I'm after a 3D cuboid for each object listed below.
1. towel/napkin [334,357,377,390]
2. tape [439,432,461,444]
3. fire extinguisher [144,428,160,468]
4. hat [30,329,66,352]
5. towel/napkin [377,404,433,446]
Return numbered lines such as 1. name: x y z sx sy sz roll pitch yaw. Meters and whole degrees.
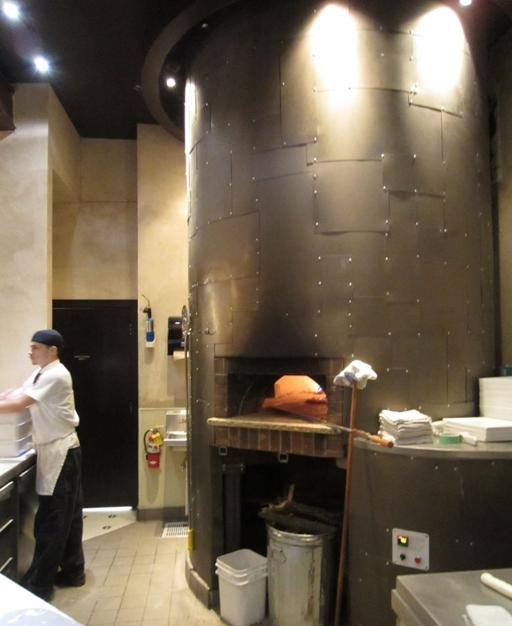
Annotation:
1. towel/napkin: 0.465 0.293 2.638 0.178 0.130 0.101 1 -4 -22
2. tape: 0.910 0.587 2.604 0.128 0.044 0.049 1 -4 -15
3. fire extinguisher: -0.844 1.151 4.677 0.149 0.341 0.261 1 -4 -26
4. hat: -1.378 0.160 3.714 0.148 0.173 0.131 2 9 -15
5. towel/napkin: 0.723 0.517 2.659 0.139 0.096 0.166 1 -1 -16
